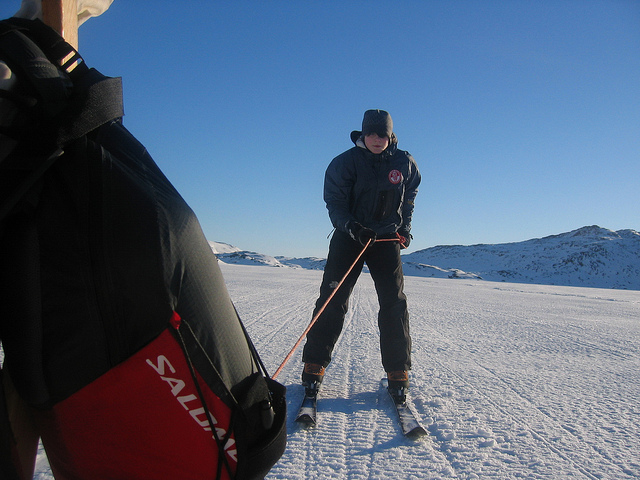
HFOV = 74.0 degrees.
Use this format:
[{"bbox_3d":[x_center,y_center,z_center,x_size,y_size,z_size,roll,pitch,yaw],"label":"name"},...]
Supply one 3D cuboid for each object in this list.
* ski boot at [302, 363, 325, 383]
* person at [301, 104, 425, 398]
[{"bbox_3d":[-0.045,0.870,2.803,0.066,0.093,0.211,11,-28,2],"label":"ski boot"},{"bbox_3d":[0.351,0.057,3.019,0.926,2.010,0.728,2,-3,-8],"label":"person"}]
